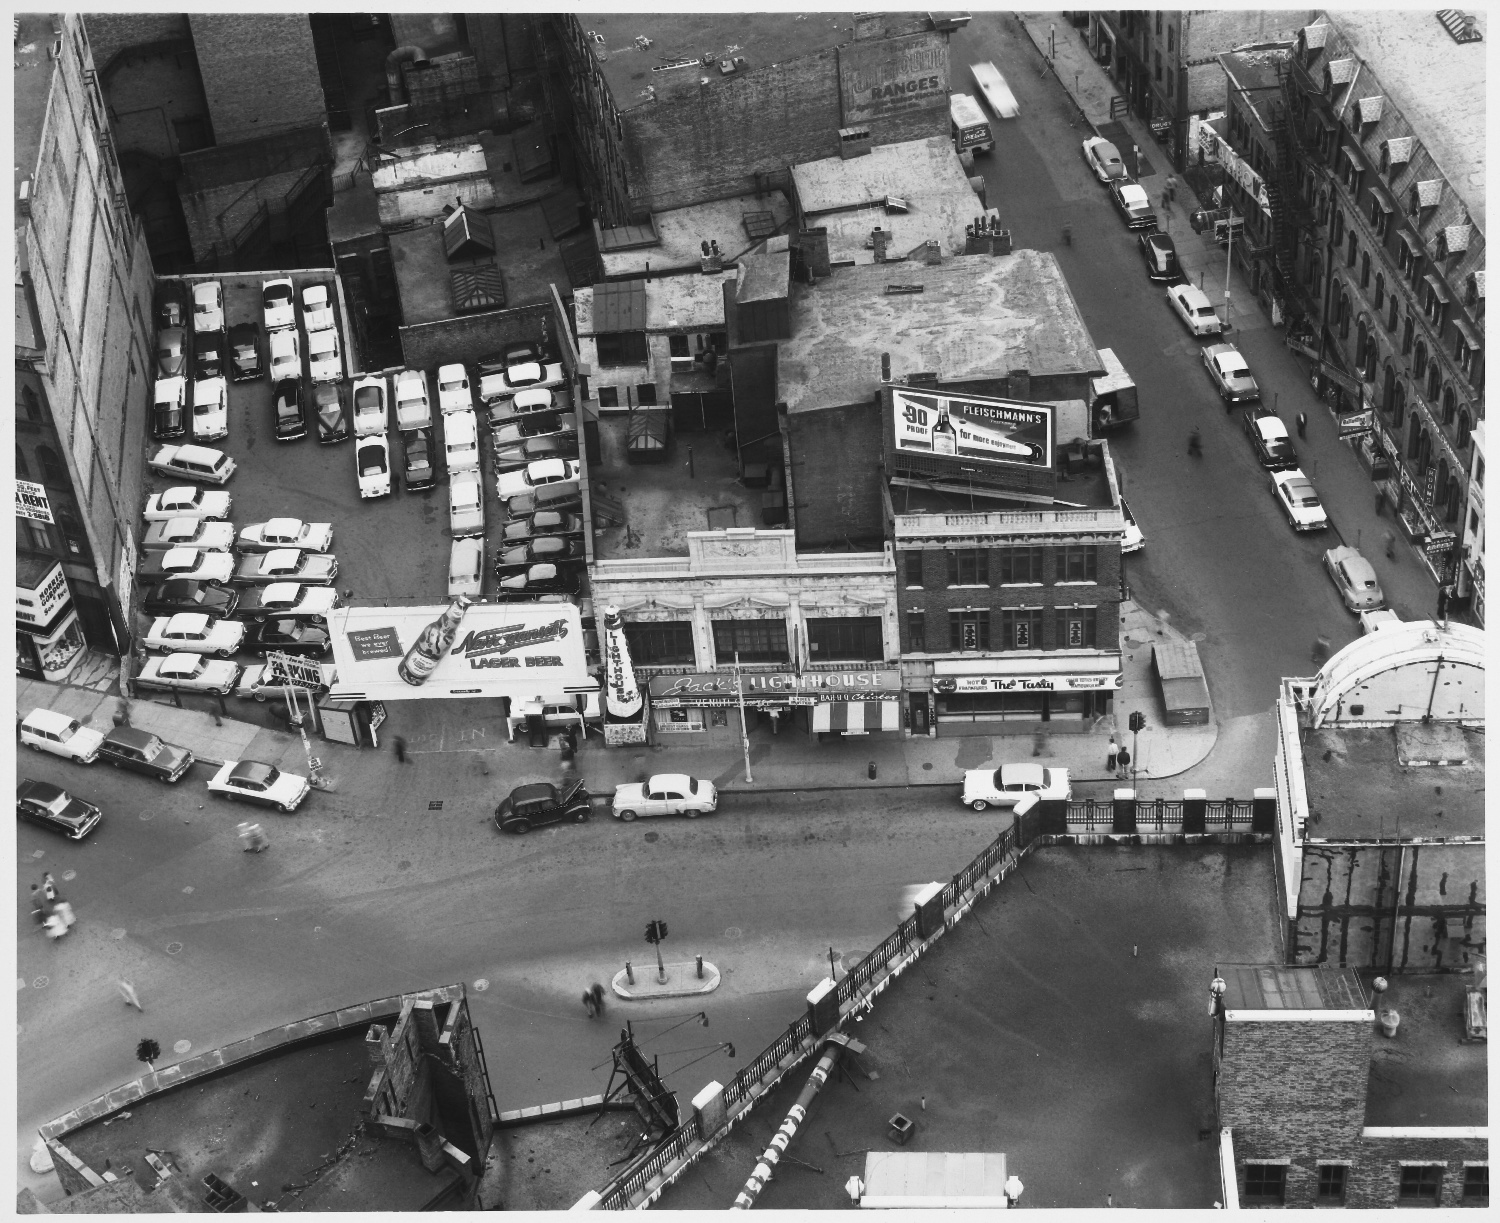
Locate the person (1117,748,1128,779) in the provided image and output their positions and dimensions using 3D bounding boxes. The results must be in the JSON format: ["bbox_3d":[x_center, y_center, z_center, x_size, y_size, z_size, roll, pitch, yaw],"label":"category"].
[{"bbox_3d":[20.552,8.278,105.168,0.589,1.317,1.069,-3,35,13],"label":"person"}]

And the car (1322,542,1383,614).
[{"bbox_3d":[36.036,-1.885,114.713,2.013,1.485,4.531,-4,46,0],"label":"car"}]

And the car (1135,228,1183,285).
[{"bbox_3d":[29.934,-25.531,139.383,2.364,2.205,4.116,-14,35,-3],"label":"car"}]

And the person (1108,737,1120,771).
[{"bbox_3d":[20.073,7.731,105.959,0.779,1.071,2.002,-3,36,13],"label":"person"}]

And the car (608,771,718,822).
[{"bbox_3d":[-4.792,10.004,104.941,4.410,1.475,2.800,1,33,1],"label":"car"}]

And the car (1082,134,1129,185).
[{"bbox_3d":[27.377,-34.576,148.596,2.206,1.453,4.921,-12,52,-1],"label":"car"}]

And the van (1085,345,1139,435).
[{"bbox_3d":[24.464,-15.965,128.486,3.833,7.371,4.191,4,81,12],"label":"van"}]

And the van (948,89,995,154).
[{"bbox_3d":[17.385,-39.123,151.147,3.496,3.310,6.796,-8,55,4],"label":"van"}]

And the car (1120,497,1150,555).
[{"bbox_3d":[23.887,-5.198,118.991,2.265,1.804,5.246,-1,31,7],"label":"car"}]

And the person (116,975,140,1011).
[{"bbox_3d":[-32.042,19.717,98.543,0.747,0.853,2.054,-25,50,-18],"label":"person"}]
